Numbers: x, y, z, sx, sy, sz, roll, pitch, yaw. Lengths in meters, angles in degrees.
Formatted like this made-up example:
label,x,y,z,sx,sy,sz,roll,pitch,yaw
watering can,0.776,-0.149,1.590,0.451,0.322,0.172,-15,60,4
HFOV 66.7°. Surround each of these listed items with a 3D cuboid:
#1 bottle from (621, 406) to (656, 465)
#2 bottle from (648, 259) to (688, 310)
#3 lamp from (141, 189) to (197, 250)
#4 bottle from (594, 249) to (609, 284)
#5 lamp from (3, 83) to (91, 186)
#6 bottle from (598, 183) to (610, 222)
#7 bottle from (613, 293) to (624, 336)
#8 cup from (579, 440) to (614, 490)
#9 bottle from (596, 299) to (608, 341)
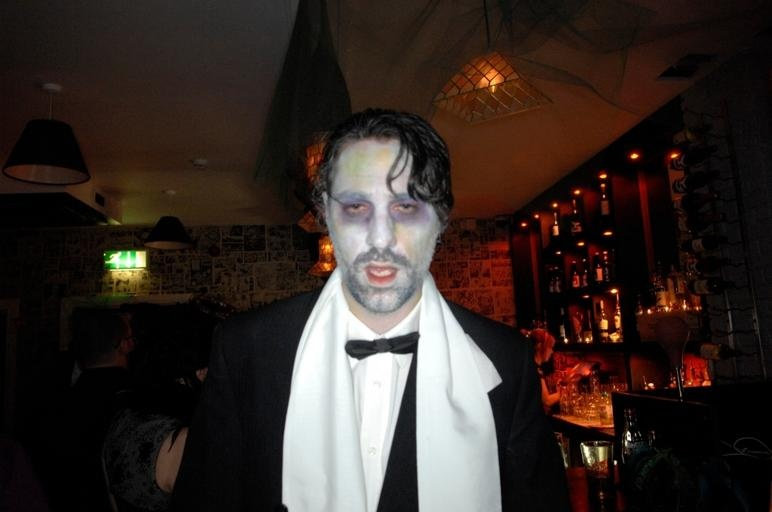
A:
label,x,y,z,sx,sy,sz,roll,pitch,yaw
bottle,1.551,1.107,3.634,0.217,0.321,0.071,-13,-16,43
bottle,2.709,0.299,5.633,0.301,0.461,0.524,-8,-12,24
lamp,-2.930,-0.547,7.903,0.575,0.606,0.582,-2,-3,0
bottle,2.452,0.119,6.685,0.173,0.420,0.459,-6,-12,19
lamp,-2.913,-1.042,5.323,0.860,0.885,0.763,-1,1,-11
bottle,2.394,-0.615,6.424,0.079,0.418,0.154,-3,-11,1
bottle,2.535,0.619,6.420,0.075,0.455,0.521,-6,-12,19
cup,1.369,1.327,3.754,0.226,0.278,0.150,-2,-11,-4
bottle,2.509,0.731,6.780,0.112,0.468,0.306,-6,-12,19
